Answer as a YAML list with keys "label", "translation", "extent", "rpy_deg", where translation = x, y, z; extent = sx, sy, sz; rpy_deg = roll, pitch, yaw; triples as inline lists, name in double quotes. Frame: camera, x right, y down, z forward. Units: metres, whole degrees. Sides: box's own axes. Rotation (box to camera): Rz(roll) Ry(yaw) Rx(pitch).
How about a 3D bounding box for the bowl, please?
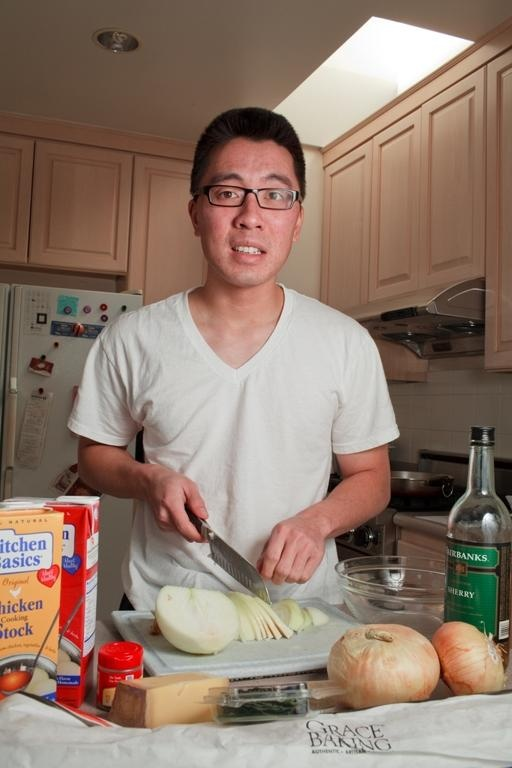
- label: "bowl"
  translation: [0.169, 0.256, 0.785]
  extent: [0.133, 0.053, 0.231]
  rpy_deg: [-2, -6, 15]

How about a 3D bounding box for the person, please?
- label: "person"
  translation: [-0.051, 0.013, 0.983]
  extent: [0.446, 1.106, 0.381]
  rpy_deg: [1, -1, -13]

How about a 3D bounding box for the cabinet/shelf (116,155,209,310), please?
- label: "cabinet/shelf"
  translation: [-0.477, -0.714, 3.124]
  extent: [0.379, 0.742, 0.347]
  rpy_deg: [-1, 5, -26]

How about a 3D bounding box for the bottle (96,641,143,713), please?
- label: "bottle"
  translation: [-0.121, 0.245, 0.543]
  extent: [0.045, 0.056, 0.046]
  rpy_deg: [2, 0, -18]

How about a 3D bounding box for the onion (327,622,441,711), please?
- label: "onion"
  translation: [0.108, 0.241, 0.529]
  extent: [0.089, 0.059, 0.085]
  rpy_deg: [-2, 5, -22]

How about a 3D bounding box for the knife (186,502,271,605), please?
- label: "knife"
  translation: [-0.041, 0.211, 0.821]
  extent: [0.139, 0.120, 0.094]
  rpy_deg: [3, 2, -7]

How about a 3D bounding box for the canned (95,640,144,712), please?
- label: "canned"
  translation: [-0.119, 0.245, 0.541]
  extent: [0.056, 0.059, 0.054]
  rpy_deg: [1, -1, 3]
